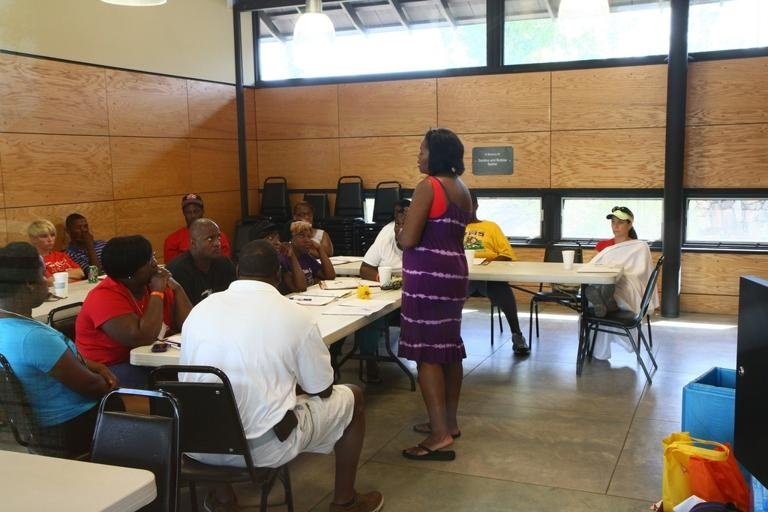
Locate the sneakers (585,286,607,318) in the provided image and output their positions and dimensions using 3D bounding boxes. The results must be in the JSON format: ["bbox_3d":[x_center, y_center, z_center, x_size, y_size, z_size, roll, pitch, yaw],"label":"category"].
[{"bbox_3d":[1.874,0.406,5.017,0.150,0.304,0.218,-16,-11,28],"label":"sneakers"}]

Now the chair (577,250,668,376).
[{"bbox_3d":[2.245,0.528,5.653,1.149,1.546,0.972,2,3,24],"label":"chair"}]

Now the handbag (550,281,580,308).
[{"bbox_3d":[1.946,0.407,5.850,0.310,0.373,0.327,-2,-8,26],"label":"handbag"}]

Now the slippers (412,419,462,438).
[{"bbox_3d":[0.377,1.261,4.017,0.370,0.094,0.147,2,2,28],"label":"slippers"}]

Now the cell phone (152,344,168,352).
[{"bbox_3d":[-1.266,0.514,3.094,0.083,0.021,0.131,-5,11,-19],"label":"cell phone"}]

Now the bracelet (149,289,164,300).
[{"bbox_3d":[-1.347,0.231,3.256,0.058,0.022,0.058,7,-10,32],"label":"bracelet"}]

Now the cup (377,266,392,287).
[{"bbox_3d":[-0.001,0.158,4.570,0.143,0.144,0.143,1,-3,0],"label":"cup"}]

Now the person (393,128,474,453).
[{"bbox_3d":[0.318,0.268,3.616,0.426,2.150,0.425,1,13,14],"label":"person"}]

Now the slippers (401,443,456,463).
[{"bbox_3d":[0.295,1.306,3.710,0.327,0.091,0.127,1,-1,7],"label":"slippers"}]
